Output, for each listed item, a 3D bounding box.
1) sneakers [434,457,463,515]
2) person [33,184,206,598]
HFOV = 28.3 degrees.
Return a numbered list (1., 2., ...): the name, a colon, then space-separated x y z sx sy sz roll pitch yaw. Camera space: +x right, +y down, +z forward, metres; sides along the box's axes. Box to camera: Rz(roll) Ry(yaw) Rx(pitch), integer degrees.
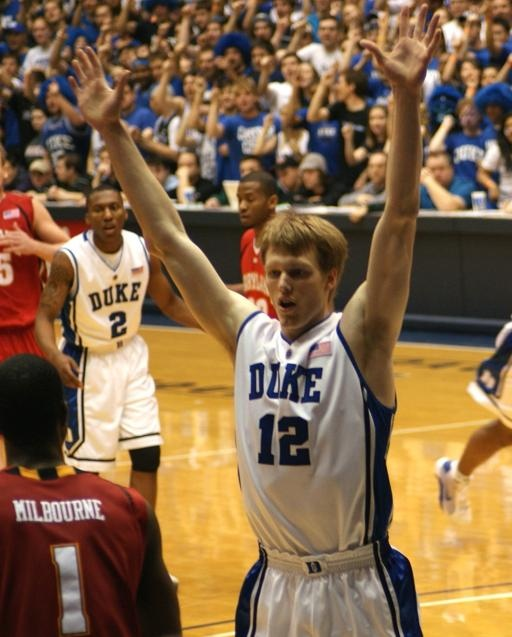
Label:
1. sneakers: 0.840 0.724 4.458 0.073 0.271 0.145 -11 19 -26
2. person: -0.603 0.281 4.742 0.632 1.855 0.550 -9 20 -21
